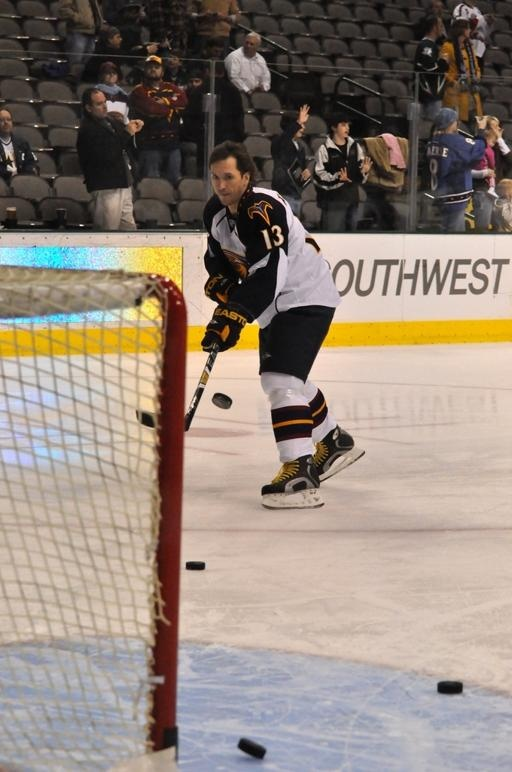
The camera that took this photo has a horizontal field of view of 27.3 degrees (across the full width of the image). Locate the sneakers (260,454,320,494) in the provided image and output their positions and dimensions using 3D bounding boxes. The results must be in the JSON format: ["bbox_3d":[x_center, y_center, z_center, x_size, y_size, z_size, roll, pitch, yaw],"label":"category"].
[{"bbox_3d":[0.111,0.294,3.476,0.204,0.094,0.161,-4,21,-8],"label":"sneakers"}]

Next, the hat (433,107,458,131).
[{"bbox_3d":[1.495,-2.125,8.380,0.161,0.079,0.203,-1,37,28],"label":"hat"}]

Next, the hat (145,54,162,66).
[{"bbox_3d":[-0.670,-2.203,7.139,0.087,0.054,0.160,11,23,28],"label":"hat"}]

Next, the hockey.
[{"bbox_3d":[-0.227,0.032,3.400,0.214,0.077,0.283,6,51,27],"label":"hockey"}]

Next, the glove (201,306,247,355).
[{"bbox_3d":[-0.092,-0.180,3.408,0.068,0.155,0.131,40,15,20],"label":"glove"}]

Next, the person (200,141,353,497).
[{"bbox_3d":[0.063,-0.180,3.534,0.574,1.249,0.742,3,24,9],"label":"person"}]
